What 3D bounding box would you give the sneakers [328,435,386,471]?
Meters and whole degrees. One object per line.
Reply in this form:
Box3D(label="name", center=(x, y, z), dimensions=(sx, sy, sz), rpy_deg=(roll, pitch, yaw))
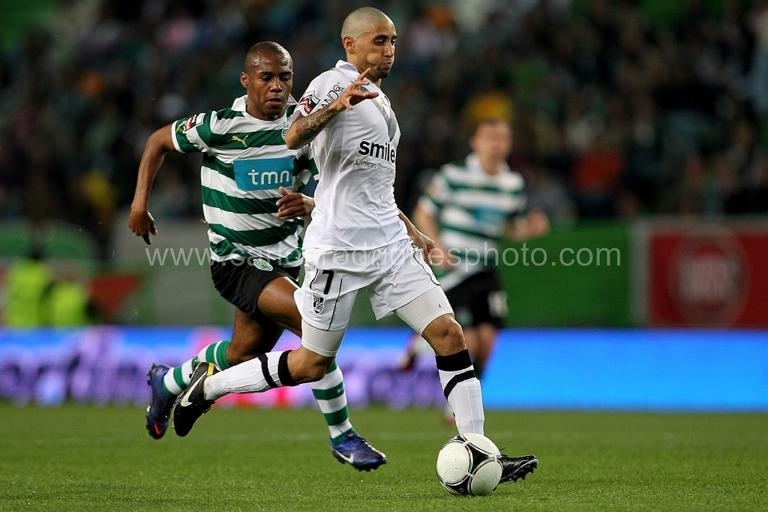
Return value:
Box3D(label="sneakers", center=(-0.225, 1.567, 7.765), dimensions=(0.531, 0.268, 0.208), rpy_deg=(4, 24, 42))
